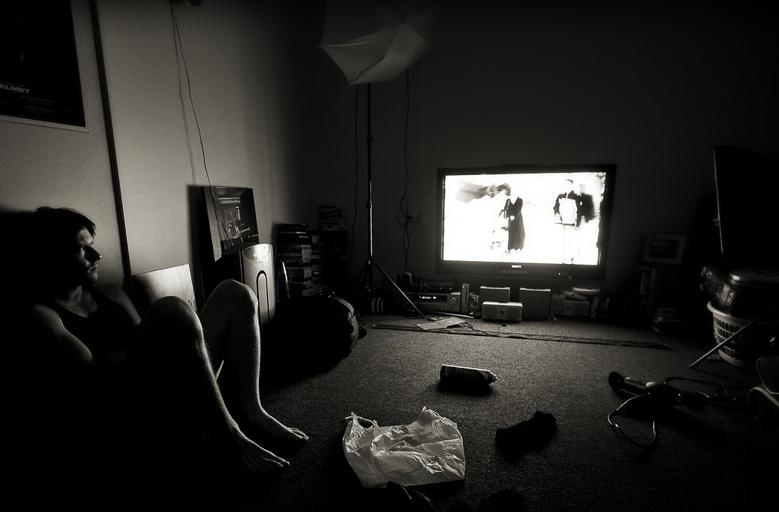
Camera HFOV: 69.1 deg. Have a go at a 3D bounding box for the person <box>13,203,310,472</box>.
[{"bbox_3d":[-1.377,0.496,3.210,1.542,1.447,0.813,6,10,22],"label":"person"}]

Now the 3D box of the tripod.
[{"bbox_3d":[-0.016,-0.552,5.214,0.573,2.100,0.856,1,10,-4],"label":"tripod"}]

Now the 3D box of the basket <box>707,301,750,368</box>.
[{"bbox_3d":[2.469,0.583,4.150,0.348,0.282,0.338,-4,6,17],"label":"basket"}]
